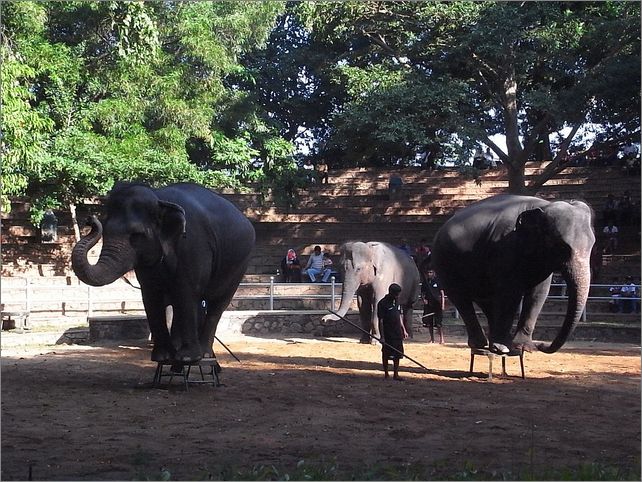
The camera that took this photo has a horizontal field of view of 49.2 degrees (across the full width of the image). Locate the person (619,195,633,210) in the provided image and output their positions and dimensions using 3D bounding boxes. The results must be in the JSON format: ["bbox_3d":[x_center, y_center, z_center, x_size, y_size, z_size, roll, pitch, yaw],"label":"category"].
[{"bbox_3d":[10.959,-1.368,25.046,0.550,0.784,0.278,2,-16,22],"label":"person"}]

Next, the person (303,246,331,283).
[{"bbox_3d":[-0.121,0.734,23.482,1.017,1.238,0.785,2,6,23],"label":"person"}]

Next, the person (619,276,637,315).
[{"bbox_3d":[8.587,1.499,19.436,0.469,0.940,1.544,2,0,25],"label":"person"}]

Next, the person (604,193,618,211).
[{"bbox_3d":[10.418,-1.400,25.047,0.435,0.559,0.714,2,1,23],"label":"person"}]

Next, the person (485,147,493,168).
[{"bbox_3d":[7.141,-3.521,29.559,0.316,0.742,0.648,1,1,-3],"label":"person"}]

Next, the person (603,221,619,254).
[{"bbox_3d":[9.822,-0.141,23.613,0.471,1.014,1.255,2,1,22],"label":"person"}]

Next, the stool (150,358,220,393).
[{"bbox_3d":[-2.025,2.024,10.662,0.720,0.377,0.723,-1,-7,7],"label":"stool"}]

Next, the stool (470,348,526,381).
[{"bbox_3d":[2.882,1.975,11.544,0.709,0.446,0.708,1,-7,-16],"label":"stool"}]

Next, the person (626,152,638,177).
[{"bbox_3d":[12.439,-3.067,27.897,0.461,0.785,0.959,2,1,23],"label":"person"}]

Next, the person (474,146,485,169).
[{"bbox_3d":[6.755,-3.430,29.675,0.418,0.743,0.716,1,1,5],"label":"person"}]

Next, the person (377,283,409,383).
[{"bbox_3d":[1.181,1.487,11.694,0.435,1.153,0.643,1,1,6],"label":"person"}]
